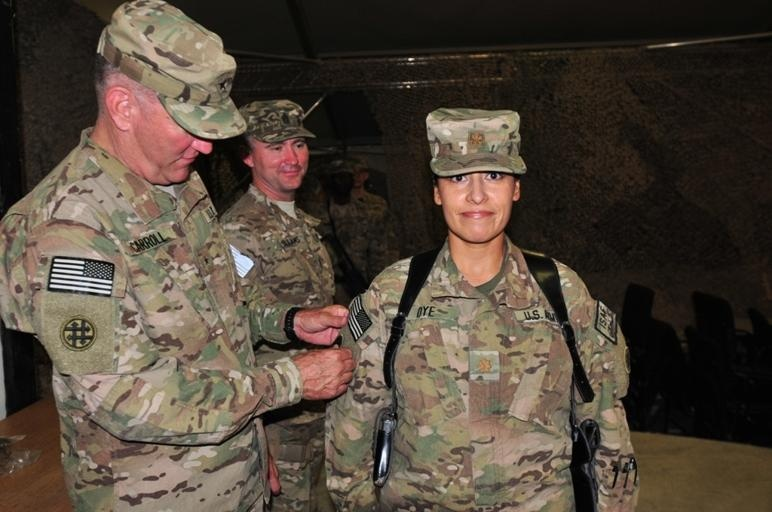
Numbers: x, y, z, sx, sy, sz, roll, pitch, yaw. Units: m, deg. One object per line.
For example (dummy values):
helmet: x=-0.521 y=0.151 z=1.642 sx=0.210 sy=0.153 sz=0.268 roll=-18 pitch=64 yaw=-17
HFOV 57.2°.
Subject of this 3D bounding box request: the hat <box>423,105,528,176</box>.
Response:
hat: x=0.466 y=-0.574 z=3.716 sx=0.569 sy=0.252 sz=0.670 roll=1 pitch=21 yaw=6
